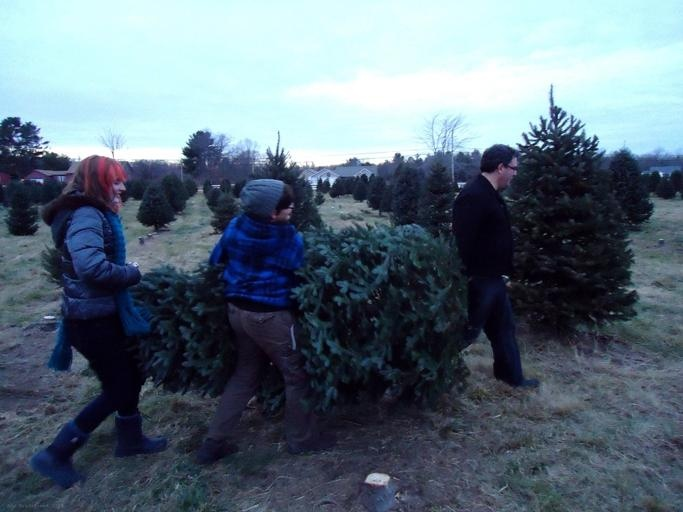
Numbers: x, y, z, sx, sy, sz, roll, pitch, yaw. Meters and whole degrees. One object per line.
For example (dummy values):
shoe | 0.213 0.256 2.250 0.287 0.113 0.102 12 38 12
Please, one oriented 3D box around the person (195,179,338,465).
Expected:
person | -0.720 0.548 3.954 1.053 2.425 0.610 -5 13 -4

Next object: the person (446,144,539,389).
person | 1.562 0.160 4.736 0.933 2.589 0.723 -8 14 -16

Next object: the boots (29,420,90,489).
boots | -2.479 1.779 3.994 0.221 0.462 0.452 8 52 51

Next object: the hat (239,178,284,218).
hat | -0.685 -0.507 3.810 0.398 0.322 0.218 -6 13 -4

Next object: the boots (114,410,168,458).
boots | -1.876 1.620 4.308 0.562 0.488 0.262 -2 6 -24

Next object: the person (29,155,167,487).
person | -2.250 0.533 3.935 0.966 2.758 0.551 -10 14 -25
